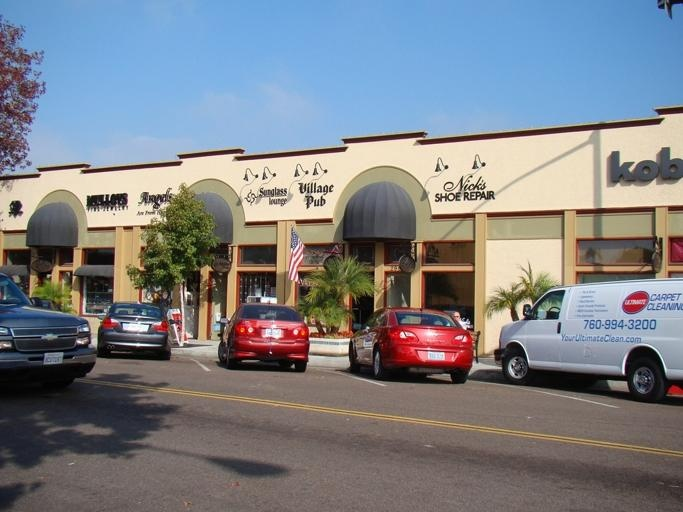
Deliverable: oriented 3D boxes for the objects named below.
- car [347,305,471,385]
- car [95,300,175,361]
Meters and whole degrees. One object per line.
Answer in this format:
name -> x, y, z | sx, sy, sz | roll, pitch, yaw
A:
car -> 1.639, 2.290, 15.233 | 1.715, 1.827, 3.352 | 5, -5, -41
car -> -6.300, 2.375, 17.859 | 2.036, 1.675, 1.095 | 3, -3, -19
